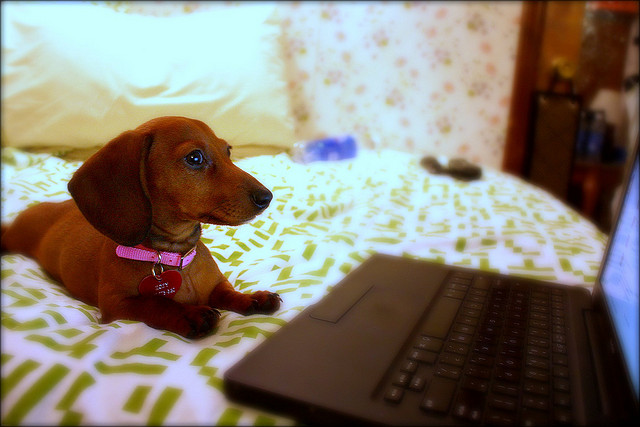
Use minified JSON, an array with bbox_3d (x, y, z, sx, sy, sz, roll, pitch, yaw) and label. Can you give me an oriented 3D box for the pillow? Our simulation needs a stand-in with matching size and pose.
[{"bbox_3d":[-0.483,-0.380,1.195,0.662,0.128,0.339,-3,62,-17],"label":"pillow"}]
